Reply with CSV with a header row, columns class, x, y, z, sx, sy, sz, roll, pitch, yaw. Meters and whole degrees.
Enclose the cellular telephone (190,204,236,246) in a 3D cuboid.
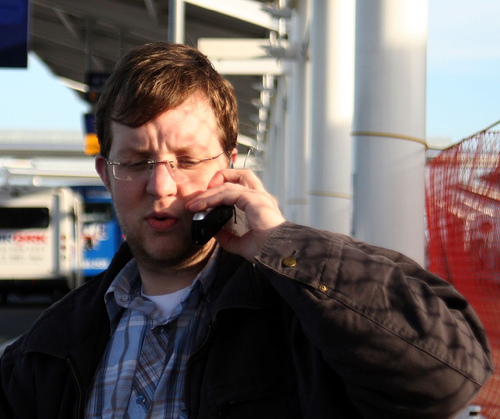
class,x,y,z,sx,sy,sz,roll,pitch,yaw
cellular telephone,-0.204,0.068,4.045,0.065,0.149,0.256,10,34,41
